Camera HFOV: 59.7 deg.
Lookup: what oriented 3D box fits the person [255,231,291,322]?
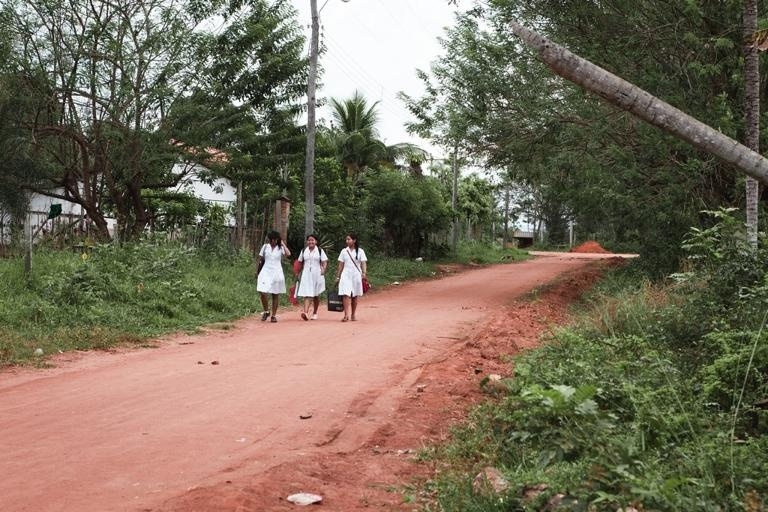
[{"bbox_3d":[-2.809,0.544,16.470,0.718,2.216,1.112,1,11,0],"label":"person"}]

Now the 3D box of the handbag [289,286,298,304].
[{"bbox_3d":[-2.442,1.065,17.980,0.195,0.246,0.451,13,-16,6],"label":"handbag"}]

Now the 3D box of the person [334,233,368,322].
[{"bbox_3d":[-0.814,0.527,16.672,0.696,2.170,1.223,1,11,-4],"label":"person"}]
